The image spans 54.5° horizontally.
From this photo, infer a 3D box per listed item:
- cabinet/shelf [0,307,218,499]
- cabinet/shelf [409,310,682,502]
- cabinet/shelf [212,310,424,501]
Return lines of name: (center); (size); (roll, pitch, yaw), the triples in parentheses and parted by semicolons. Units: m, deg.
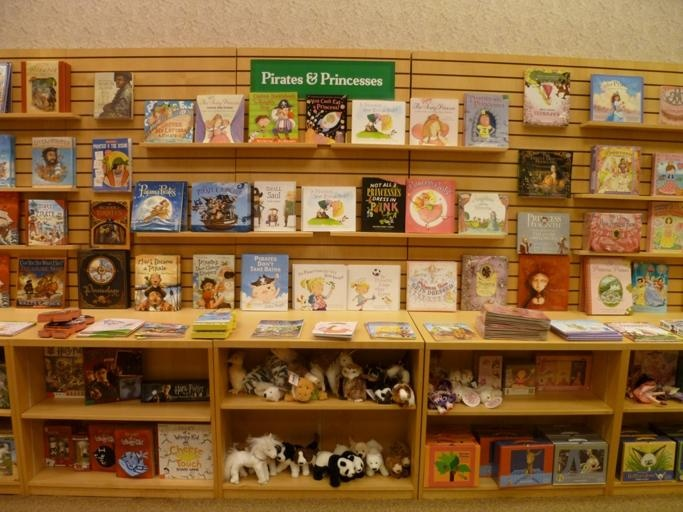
cabinet/shelf: (-1.700, 1.093, 4.742); (1.361, 1.105, 0.484); (0, -1, -2)
cabinet/shelf: (1.471, 1.099, 4.772); (1.388, 0.828, 0.460); (0, 1, -1)
cabinet/shelf: (-0.118, 0.943, 5.159); (2.112, 1.698, 1.114); (0, 6, 0)
